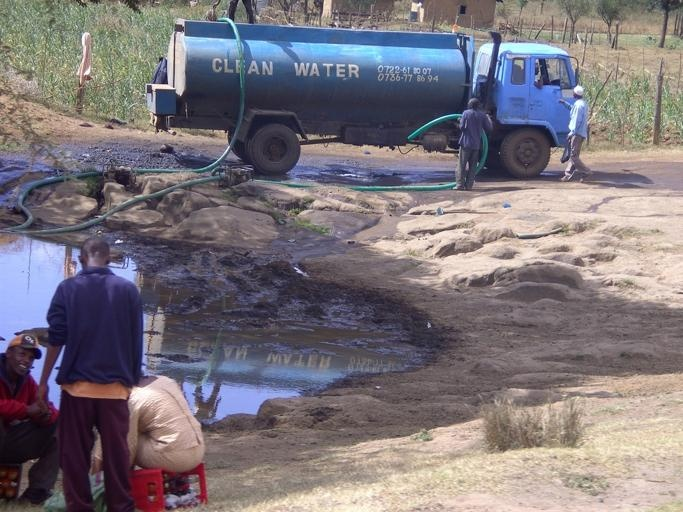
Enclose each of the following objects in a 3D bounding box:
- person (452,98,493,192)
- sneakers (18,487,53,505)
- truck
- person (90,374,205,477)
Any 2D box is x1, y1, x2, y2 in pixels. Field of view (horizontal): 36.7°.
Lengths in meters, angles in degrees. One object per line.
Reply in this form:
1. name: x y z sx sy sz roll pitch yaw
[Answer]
1. person: 2.897 -2.465 22.611 0.737 1.982 1.351 0 6 6
2. sneakers: -3.450 2.678 11.646 0.428 0.151 0.139 -2 10 -2
3. truck: 0.207 -3.579 23.997 11.208 3.163 3.572 0 15 -15
4. person: -2.077 1.844 11.752 1.330 1.074 0.938 9 6 26
